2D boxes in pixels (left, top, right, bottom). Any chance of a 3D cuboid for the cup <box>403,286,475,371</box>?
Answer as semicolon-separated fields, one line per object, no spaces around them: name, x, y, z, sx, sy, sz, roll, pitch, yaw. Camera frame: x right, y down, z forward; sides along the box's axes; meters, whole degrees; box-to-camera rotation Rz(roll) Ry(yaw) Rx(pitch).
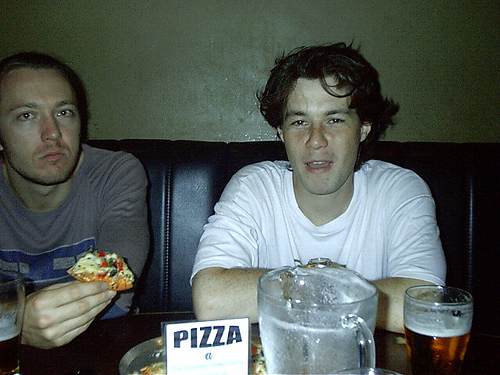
cup;0.479;0.372;1.176;0.166;0.211;0.106;1;12;4

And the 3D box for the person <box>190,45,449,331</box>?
person;0.254;-0.082;1.773;0.953;0.952;0.838;-2;11;-7

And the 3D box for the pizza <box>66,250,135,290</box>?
pizza;-0.473;0.268;1.471;0.162;0.058;0.139;15;20;-21
